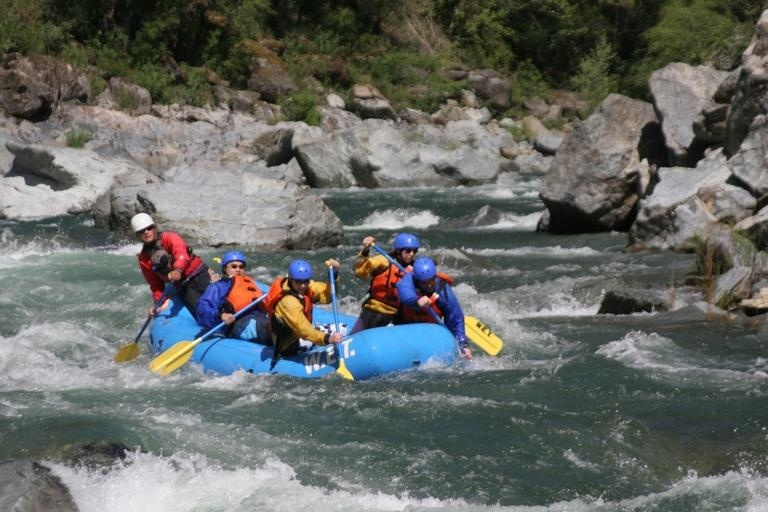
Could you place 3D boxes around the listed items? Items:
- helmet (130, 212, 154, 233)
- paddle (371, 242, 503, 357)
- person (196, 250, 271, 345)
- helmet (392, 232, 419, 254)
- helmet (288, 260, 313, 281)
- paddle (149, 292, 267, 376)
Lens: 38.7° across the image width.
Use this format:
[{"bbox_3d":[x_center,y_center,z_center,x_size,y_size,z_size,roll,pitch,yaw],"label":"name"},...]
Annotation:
[{"bbox_3d":[-5.067,-0.706,22.952,0.371,0.400,0.496,-21,5,-14],"label":"helmet"},{"bbox_3d":[1.105,0.967,22.722,3.388,0.556,0.158,40,-23,1],"label":"paddle"},{"bbox_3d":[-3.042,0.841,22.256,1.335,0.847,2.025,-2,35,-31],"label":"person"},{"bbox_3d":[0.478,-0.287,22.421,0.462,0.357,0.359,18,10,42],"label":"helmet"},{"bbox_3d":[-1.643,0.266,21.534,0.447,0.374,0.286,-2,15,-11],"label":"helmet"},{"bbox_3d":[-3.484,1.609,22.151,2.980,0.243,0.463,-29,40,-22],"label":"paddle"}]
